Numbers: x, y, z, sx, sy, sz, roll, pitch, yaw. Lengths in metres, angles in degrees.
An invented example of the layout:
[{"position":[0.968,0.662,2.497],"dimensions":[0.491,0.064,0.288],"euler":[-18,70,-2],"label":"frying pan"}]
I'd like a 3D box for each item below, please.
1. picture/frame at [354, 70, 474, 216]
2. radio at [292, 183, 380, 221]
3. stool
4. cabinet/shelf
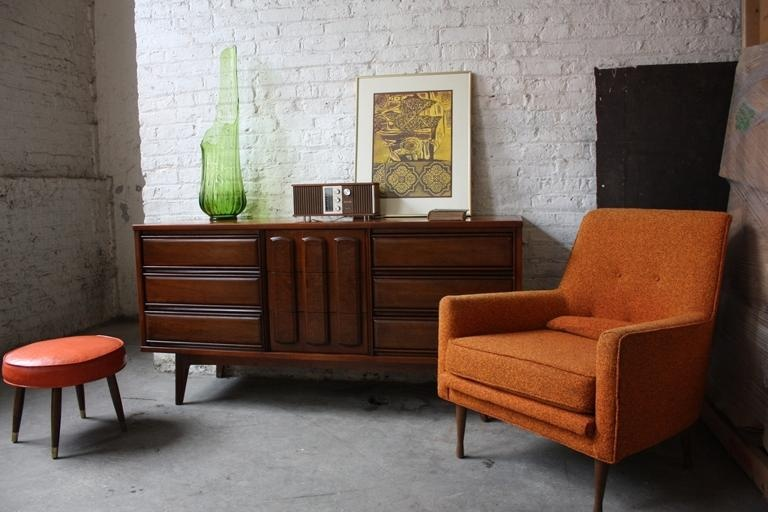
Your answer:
[{"position":[0.180,-0.714,3.783],"dimensions":[0.761,0.925,0.274],"euler":[0,12,5],"label":"picture/frame"},{"position":[-0.286,-0.343,3.708],"dimensions":[0.527,0.191,0.259],"euler":[0,2,6],"label":"radio"},{"position":[-1.795,0.774,3.324],"dimensions":[0.433,0.559,0.538],"euler":[10,14,43],"label":"stool"},{"position":[-0.291,0.311,3.415],"dimensions":[3.011,1.078,0.821],"euler":[0,3,8],"label":"cabinet/shelf"}]
